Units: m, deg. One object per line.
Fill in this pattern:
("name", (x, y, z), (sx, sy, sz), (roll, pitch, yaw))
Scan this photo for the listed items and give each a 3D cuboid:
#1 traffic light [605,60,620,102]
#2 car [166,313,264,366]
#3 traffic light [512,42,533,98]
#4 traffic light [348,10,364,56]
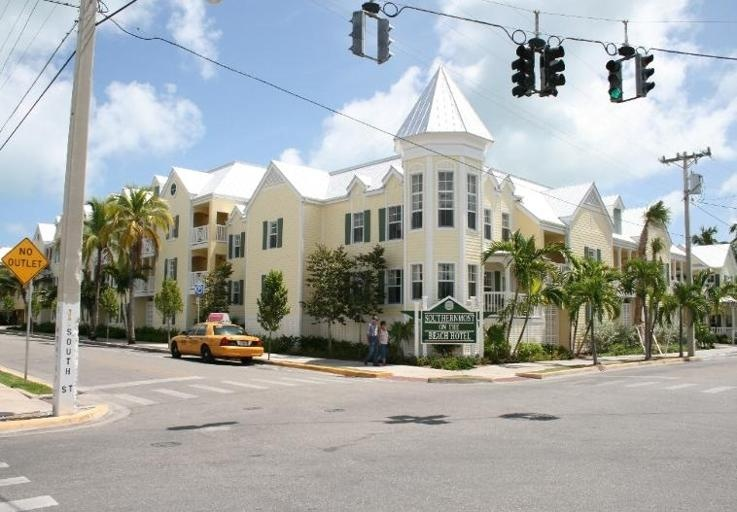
("traffic light", (6.468, -4.632, 17.542), (0.329, 1.099, 0.725), (-3, -11, 23))
("car", (-6.890, 3.554, 29.402), (1.879, 1.445, 4.099), (8, -7, -39))
("traffic light", (4.047, -5.086, 17.296), (0.556, 0.371, 1.447), (-8, -15, 11))
("traffic light", (-0.233, -5.148, 15.451), (0.358, 1.220, 0.699), (1, -10, -1))
